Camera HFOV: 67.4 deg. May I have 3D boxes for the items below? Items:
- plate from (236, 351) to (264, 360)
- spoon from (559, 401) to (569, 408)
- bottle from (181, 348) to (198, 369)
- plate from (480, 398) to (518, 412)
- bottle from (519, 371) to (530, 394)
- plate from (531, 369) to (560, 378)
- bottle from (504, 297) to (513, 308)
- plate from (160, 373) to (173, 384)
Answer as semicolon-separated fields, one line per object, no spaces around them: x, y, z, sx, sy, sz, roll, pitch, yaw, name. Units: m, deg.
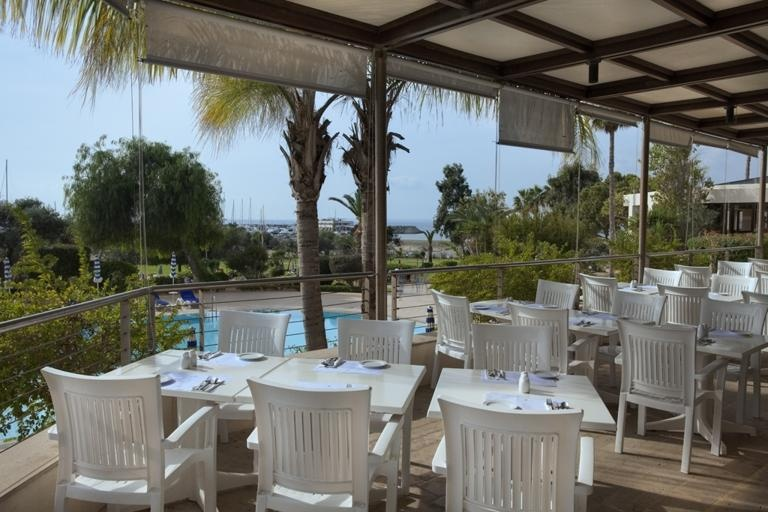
-1.067;0.802;4.612;0.165;0.044;0.185;-5;5;-42;plate
1.215;1.006;3.889;0.060;0.023;0.083;-1;4;13;spoon
-1.518;0.795;4.484;0.114;0.119;0.230;-3;4;-18;bottle
0.794;1.005;3.906;0.224;0.040;0.167;-3;4;-20;plate
1.001;0.911;4.161;0.104;0.172;0.111;0;5;0;bottle
1.225;0.891;4.376;0.209;0.048;0.202;-1;4;15;plate
1.330;0.502;6.184;0.064;0.105;0.068;-2;13;0;bottle
-1.576;0.900;4.176;0.113;0.017;0.120;0;9;-6;plate
